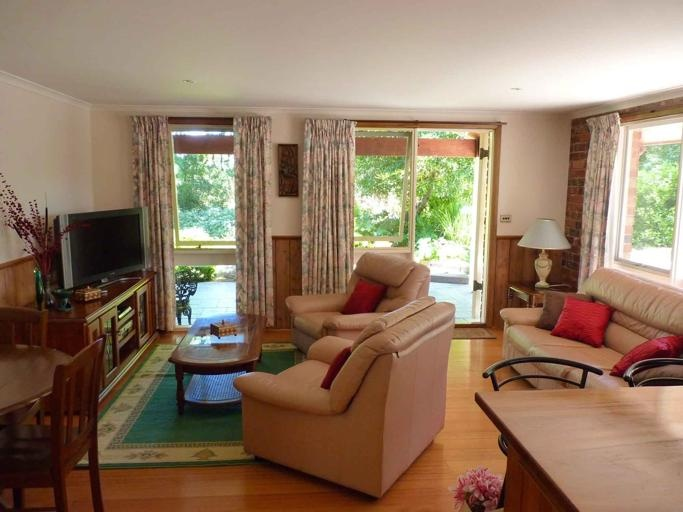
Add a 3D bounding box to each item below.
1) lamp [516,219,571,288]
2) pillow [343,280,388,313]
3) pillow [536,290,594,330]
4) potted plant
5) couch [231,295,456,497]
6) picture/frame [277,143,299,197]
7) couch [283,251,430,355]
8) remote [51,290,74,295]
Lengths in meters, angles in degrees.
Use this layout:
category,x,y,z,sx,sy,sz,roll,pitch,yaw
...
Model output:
category,x,y,z,sx,sy,sz,roll,pitch,yaw
lamp,2.374,-0.034,5.866,0.609,0.732,0.543,1,2,12
pillow,0.238,0.425,5.175,0.117,0.348,0.385,39,-16,-34
pillow,2.198,0.571,4.932,0.139,0.384,0.425,28,-11,-16
potted plant,-1.945,0.443,6.524,0.719,0.851,0.332,1,-4,-14
couch,0.008,0.760,3.730,1.403,1.140,1.393,5,9,29
picture/frame,-0.646,-1.028,6.037,0.253,0.618,0.080,-1,14,-5
couch,0.151,0.422,5.194,1.244,1.004,1.270,0,3,-22
remote,-2.407,0.313,4.319,0.088,0.033,0.083,-1,-2,-17
